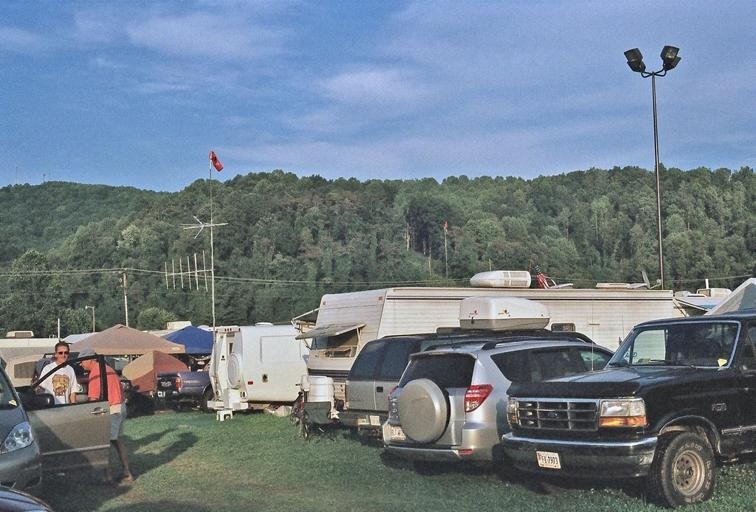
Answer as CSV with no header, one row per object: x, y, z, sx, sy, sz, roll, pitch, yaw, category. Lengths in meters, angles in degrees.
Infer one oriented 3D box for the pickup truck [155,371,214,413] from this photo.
-5.787,3.927,27.798,1.444,1.203,3.255,-3,0,-23,pickup truck

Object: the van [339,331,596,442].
1.524,2.275,19.515,4.351,1.664,2.352,0,-3,-31,van

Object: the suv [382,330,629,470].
2.265,2.453,17.166,3.678,1.317,1.957,-1,-1,-41,suv

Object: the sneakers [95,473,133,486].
-4.791,4.075,17.351,0.681,0.270,0.245,-5,-6,16,sneakers
